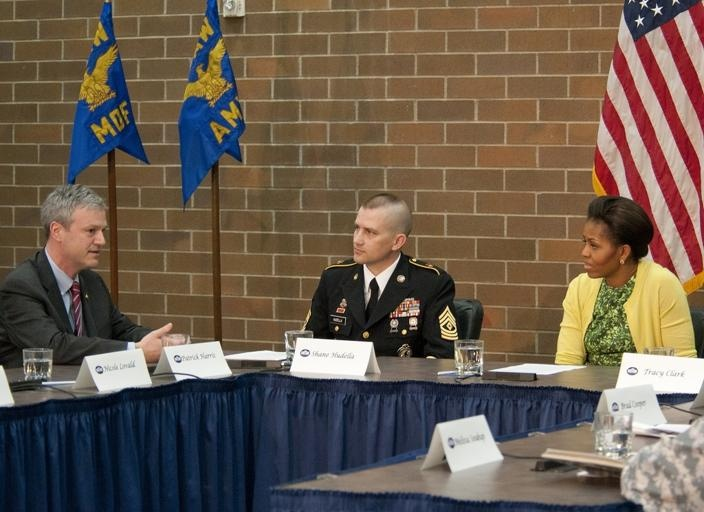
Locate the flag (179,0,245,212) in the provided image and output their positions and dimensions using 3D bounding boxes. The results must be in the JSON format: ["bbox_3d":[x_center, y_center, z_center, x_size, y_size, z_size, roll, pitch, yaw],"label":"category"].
[{"bbox_3d":[-0.814,-0.893,6.936,0.364,1.139,0.230,0,0,-4],"label":"flag"}]

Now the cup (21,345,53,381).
[{"bbox_3d":[-1.339,0.458,5.118,0.130,0.147,0.133,0,-2,0],"label":"cup"}]

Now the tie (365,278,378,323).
[{"bbox_3d":[0.092,0.213,6.039,0.049,0.225,0.030,5,-20,9],"label":"tie"}]

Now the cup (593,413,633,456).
[{"bbox_3d":[0.926,0.637,4.279,0.161,0.179,0.164,0,-2,0],"label":"cup"}]

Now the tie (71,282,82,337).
[{"bbox_3d":[-1.328,0.249,5.786,0.044,0.265,0.038,-4,-22,-2],"label":"tie"}]

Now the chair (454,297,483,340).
[{"bbox_3d":[0.629,0.332,6.289,0.180,0.242,0.185,0,-2,18],"label":"chair"}]

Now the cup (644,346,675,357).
[{"bbox_3d":[1.304,0.398,5.135,0.069,0.053,0.057,-1,0,19],"label":"cup"}]

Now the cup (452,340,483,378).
[{"bbox_3d":[0.507,0.439,5.298,0.144,0.164,0.144,0,0,0],"label":"cup"}]

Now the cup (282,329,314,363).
[{"bbox_3d":[-0.238,0.404,5.530,0.139,0.161,0.139,1,2,0],"label":"cup"}]

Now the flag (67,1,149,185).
[{"bbox_3d":[-1.415,-0.951,6.972,0.287,1.071,0.581,0,-1,14],"label":"flag"}]

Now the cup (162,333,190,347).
[{"bbox_3d":[-0.788,0.371,5.436,0.071,0.069,0.064,-1,-2,35],"label":"cup"}]
